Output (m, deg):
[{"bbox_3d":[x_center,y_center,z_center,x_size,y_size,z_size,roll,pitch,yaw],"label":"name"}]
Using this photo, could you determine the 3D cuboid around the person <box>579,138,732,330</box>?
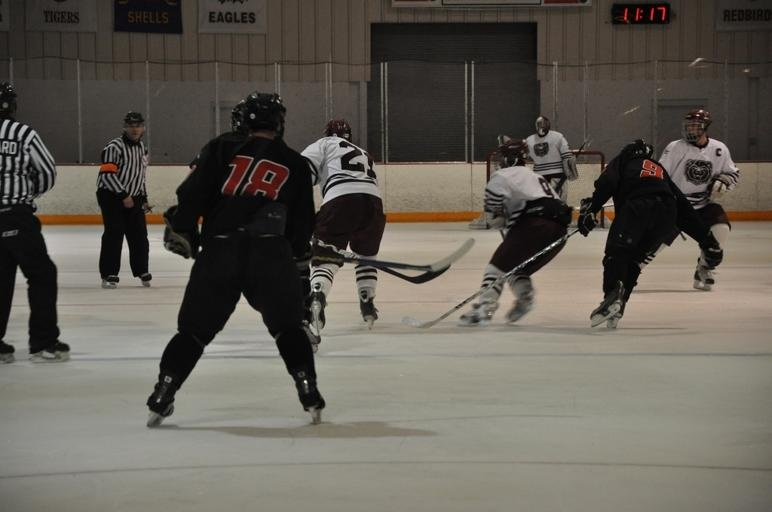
[{"bbox_3d":[2.073,-0.191,6.463,1.213,1.463,0.858,8,-14,13],"label":"person"}]

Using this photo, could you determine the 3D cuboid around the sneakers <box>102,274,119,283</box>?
[{"bbox_3d":[-2.714,0.228,8.101,0.154,0.086,0.114,-2,10,-26],"label":"sneakers"}]

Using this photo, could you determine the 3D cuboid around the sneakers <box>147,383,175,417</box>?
[{"bbox_3d":[-1.068,0.687,3.910,0.145,0.163,0.164,13,-16,-4],"label":"sneakers"}]

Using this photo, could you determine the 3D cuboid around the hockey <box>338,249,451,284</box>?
[{"bbox_3d":[0.010,0.065,5.838,0.962,0.153,0.292,6,6,41],"label":"hockey"}]

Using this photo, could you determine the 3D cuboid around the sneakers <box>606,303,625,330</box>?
[{"bbox_3d":[1.661,0.435,5.915,0.090,0.108,0.258,22,-30,13],"label":"sneakers"}]

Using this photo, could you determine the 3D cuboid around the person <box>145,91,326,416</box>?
[{"bbox_3d":[-0.712,0.117,4.022,0.843,1.418,0.403,1,10,-5],"label":"person"}]

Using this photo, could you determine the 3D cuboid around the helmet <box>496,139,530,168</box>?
[{"bbox_3d":[0.984,-0.795,6.342,0.214,0.223,0.249,1,2,-25],"label":"helmet"}]

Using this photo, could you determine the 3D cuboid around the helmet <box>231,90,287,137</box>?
[{"bbox_3d":[-0.661,-0.742,4.237,0.280,0.233,0.209,11,9,21],"label":"helmet"}]

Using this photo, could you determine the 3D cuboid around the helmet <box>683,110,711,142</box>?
[{"bbox_3d":[3.072,-1.270,8.095,0.251,0.340,0.269,5,10,17],"label":"helmet"}]

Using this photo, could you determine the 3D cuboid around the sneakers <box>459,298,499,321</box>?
[{"bbox_3d":[0.694,0.401,6.120,0.350,0.139,0.112,-9,41,-5],"label":"sneakers"}]

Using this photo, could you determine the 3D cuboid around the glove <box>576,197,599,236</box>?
[{"bbox_3d":[1.563,-0.305,6.394,0.133,0.277,0.211,0,13,6],"label":"glove"}]

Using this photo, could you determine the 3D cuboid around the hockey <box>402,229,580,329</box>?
[{"bbox_3d":[0.947,0.221,7.283,1.635,0.162,0.235,-26,-39,6],"label":"hockey"}]

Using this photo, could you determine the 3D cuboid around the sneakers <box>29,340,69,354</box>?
[{"bbox_3d":[-2.071,0.553,5.030,0.235,0.084,0.073,-3,5,-20],"label":"sneakers"}]

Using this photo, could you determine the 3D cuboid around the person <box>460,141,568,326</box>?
[{"bbox_3d":[1.063,-0.226,6.333,1.016,1.373,0.763,-3,-15,13],"label":"person"}]

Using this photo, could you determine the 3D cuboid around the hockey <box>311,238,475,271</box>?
[{"bbox_3d":[0.073,0.010,5.868,1.117,0.279,0.586,-2,9,-25],"label":"hockey"}]

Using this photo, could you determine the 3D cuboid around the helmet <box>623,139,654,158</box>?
[{"bbox_3d":[2.003,-0.838,6.451,0.209,0.077,0.229,0,9,20],"label":"helmet"}]

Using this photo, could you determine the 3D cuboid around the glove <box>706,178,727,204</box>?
[{"bbox_3d":[3.261,-0.647,8.053,0.213,0.249,0.089,6,-2,5],"label":"glove"}]
